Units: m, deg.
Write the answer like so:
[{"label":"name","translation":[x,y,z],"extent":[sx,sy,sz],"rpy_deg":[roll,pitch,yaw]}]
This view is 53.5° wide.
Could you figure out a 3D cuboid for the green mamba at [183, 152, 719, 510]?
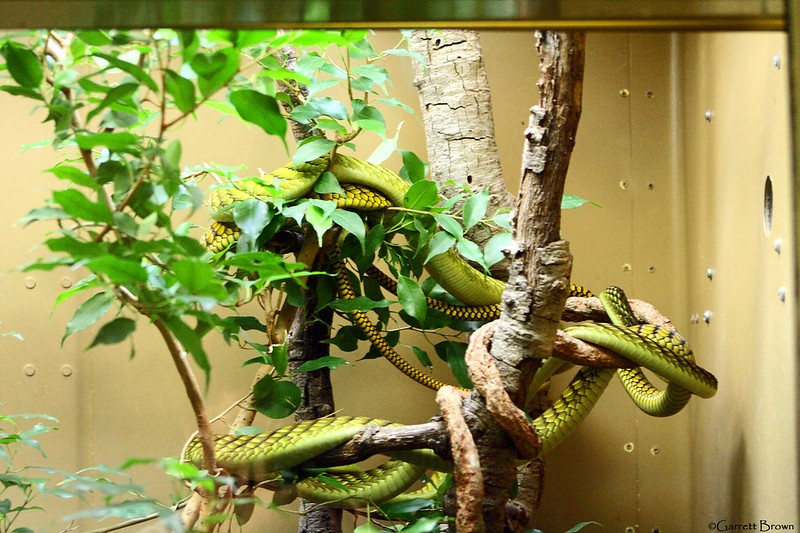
[{"label":"green mamba","translation":[0.127,0.144,2.298],"extent":[1.393,0.503,0.981],"rpy_deg":[11,-32,-17]}]
